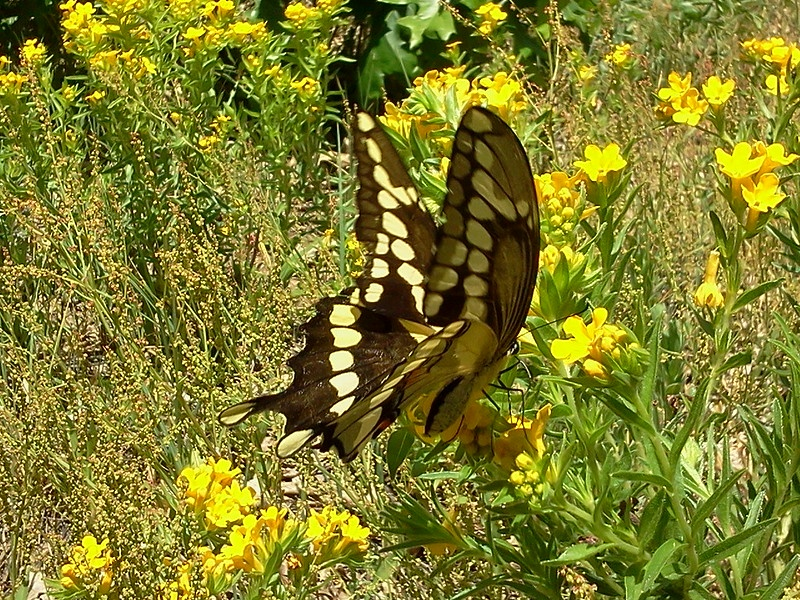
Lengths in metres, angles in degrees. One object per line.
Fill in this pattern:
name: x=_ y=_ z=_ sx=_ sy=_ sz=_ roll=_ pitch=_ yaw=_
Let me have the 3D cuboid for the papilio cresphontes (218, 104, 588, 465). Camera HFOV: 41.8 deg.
papilio cresphontes: x=0.080 y=-0.223 z=2.783 sx=0.914 sy=0.748 sz=0.875 roll=-21 pitch=13 yaw=-23
